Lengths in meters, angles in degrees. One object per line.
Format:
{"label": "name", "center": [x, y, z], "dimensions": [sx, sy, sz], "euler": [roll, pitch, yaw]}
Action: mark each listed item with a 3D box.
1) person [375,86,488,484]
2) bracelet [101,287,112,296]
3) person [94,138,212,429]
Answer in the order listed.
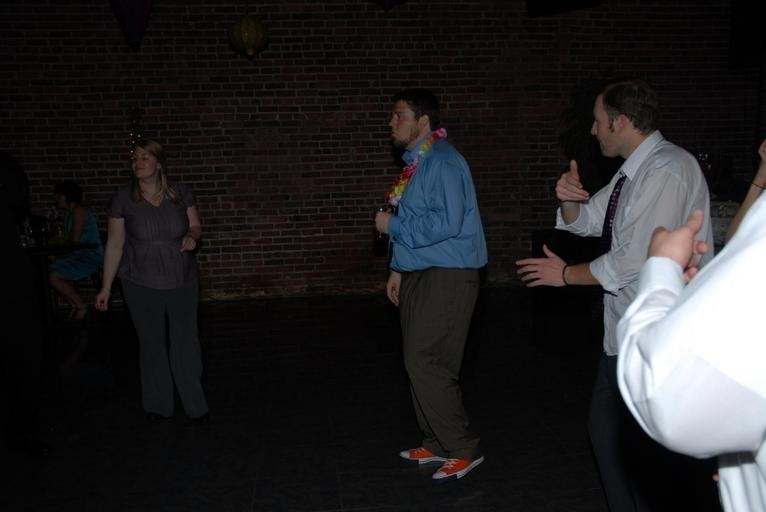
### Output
{"label": "person", "center": [0.298, 0.143, 3.419], "dimensions": [0.525, 2.126, 0.697], "euler": [-9, 17, -29]}
{"label": "bracelet", "center": [-1.805, 0.228, 3.896], "dimensions": [0.058, 0.041, 0.028], "euler": [10, 12, 25]}
{"label": "person", "center": [-1.503, 0.202, 3.905], "dimensions": [0.649, 1.844, 0.366], "euler": [-6, 15, -17]}
